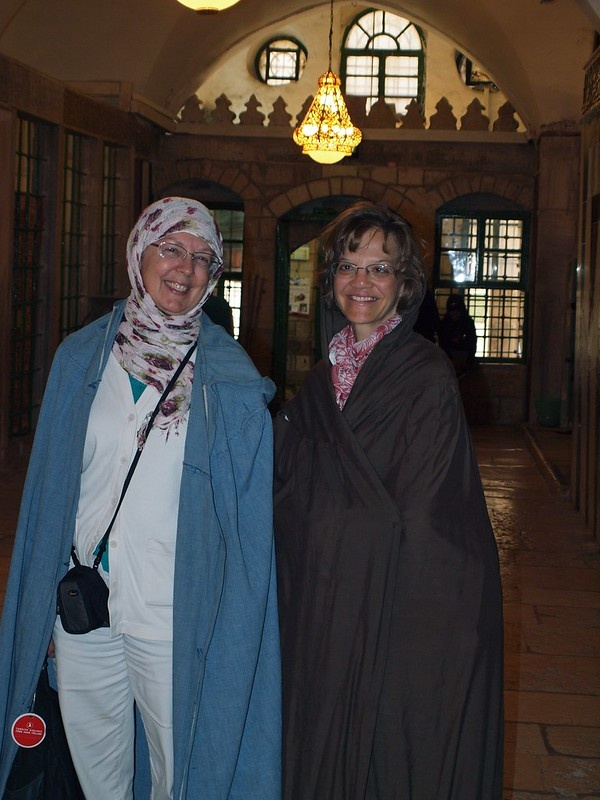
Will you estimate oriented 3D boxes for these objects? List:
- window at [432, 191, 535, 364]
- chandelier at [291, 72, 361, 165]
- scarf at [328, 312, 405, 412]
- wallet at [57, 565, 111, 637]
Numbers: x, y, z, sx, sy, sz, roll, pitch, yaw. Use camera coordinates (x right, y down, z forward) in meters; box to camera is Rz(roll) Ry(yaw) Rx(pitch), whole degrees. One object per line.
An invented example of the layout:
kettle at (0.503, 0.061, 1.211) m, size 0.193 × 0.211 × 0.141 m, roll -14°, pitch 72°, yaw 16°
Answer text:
window at (2.798, -1.795, 11.239) m, size 1.400 × 2.443 × 0.078 m, roll 6°, pitch 38°, yaw 20°
chandelier at (0.334, -3.568, 9.011) m, size 0.818 × 1.244 × 0.834 m, roll 1°, pitch 6°, yaw -11°
scarf at (0.182, -0.093, 1.833) m, size 0.071 × 0.226 × 0.180 m, roll 22°, pitch -16°, yaw -39°
wallet at (-0.430, 0.404, 1.448) m, size 0.103 × 0.122 × 0.073 m, roll 8°, pitch 8°, yaw -4°
